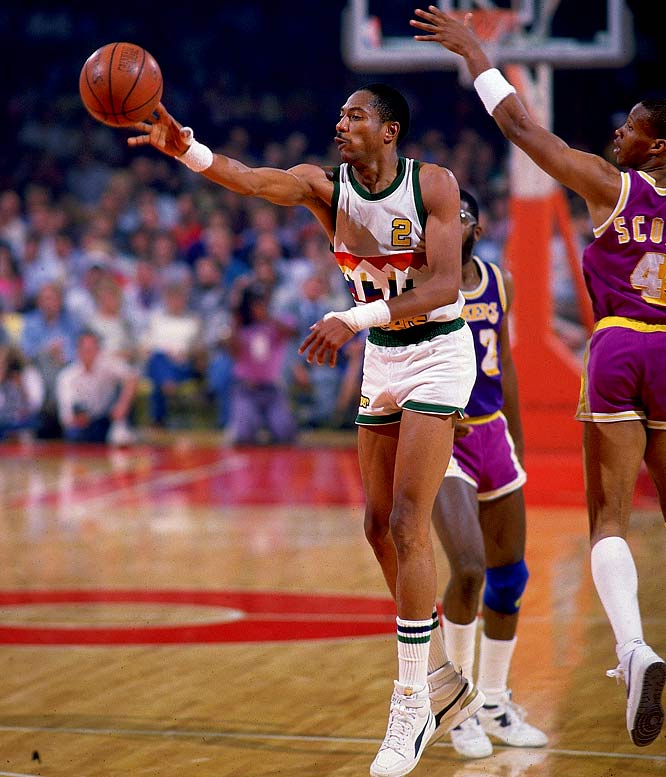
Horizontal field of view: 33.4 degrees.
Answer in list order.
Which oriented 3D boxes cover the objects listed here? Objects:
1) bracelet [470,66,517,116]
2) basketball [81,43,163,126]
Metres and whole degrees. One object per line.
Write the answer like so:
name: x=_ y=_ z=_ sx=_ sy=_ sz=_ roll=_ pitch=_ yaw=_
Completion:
bracelet: x=0.464 y=-0.875 z=3.298 sx=0.119 sy=0.128 sz=0.145 roll=-36 pitch=-7 yaw=-2
basketball: x=-0.587 y=-0.845 z=3.057 sx=0.233 sy=0.197 sz=0.236 roll=1 pitch=44 yaw=-6
